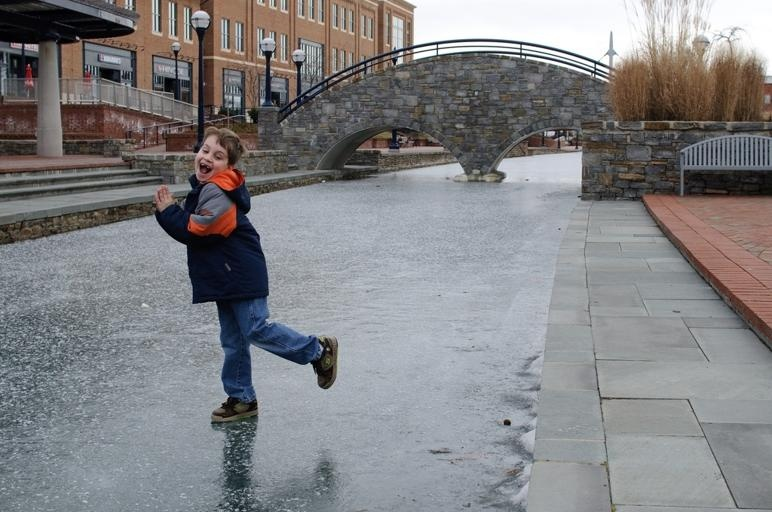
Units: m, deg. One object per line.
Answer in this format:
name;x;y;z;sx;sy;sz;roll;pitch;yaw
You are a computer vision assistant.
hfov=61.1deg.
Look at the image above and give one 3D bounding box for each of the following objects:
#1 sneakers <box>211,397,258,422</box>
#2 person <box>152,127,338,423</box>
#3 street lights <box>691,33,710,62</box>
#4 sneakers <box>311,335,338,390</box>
sneakers;-1.026;1.071;4.612;0.378;0.134;0.118;1;2;-23
person;-0.953;0.128;4.495;1.022;1.992;0.386;-8;13;-15
street lights;7.943;-5.271;16.530;0.367;0.602;0.620;1;12;23
sneakers;-0.419;0.755;4.742;0.229;0.371;0.152;-6;12;-29
